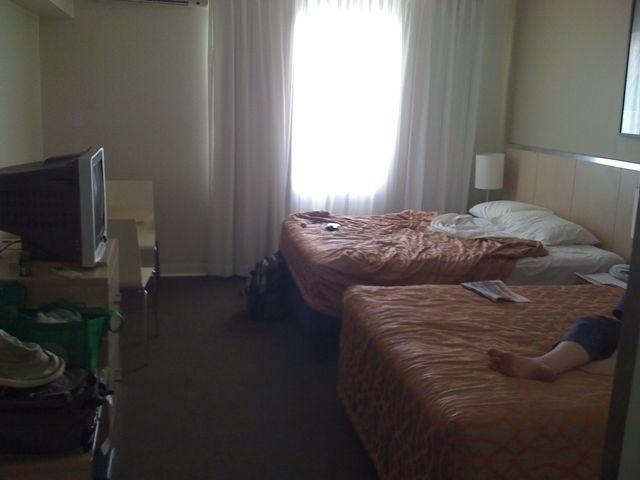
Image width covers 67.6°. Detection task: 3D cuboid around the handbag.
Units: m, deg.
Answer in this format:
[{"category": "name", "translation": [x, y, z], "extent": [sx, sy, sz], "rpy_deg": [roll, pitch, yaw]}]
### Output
[{"category": "handbag", "translation": [-1.136, 0.363, 2.129], "extent": [0.356, 0.156, 0.367], "rpy_deg": [18, 12, 35]}]
